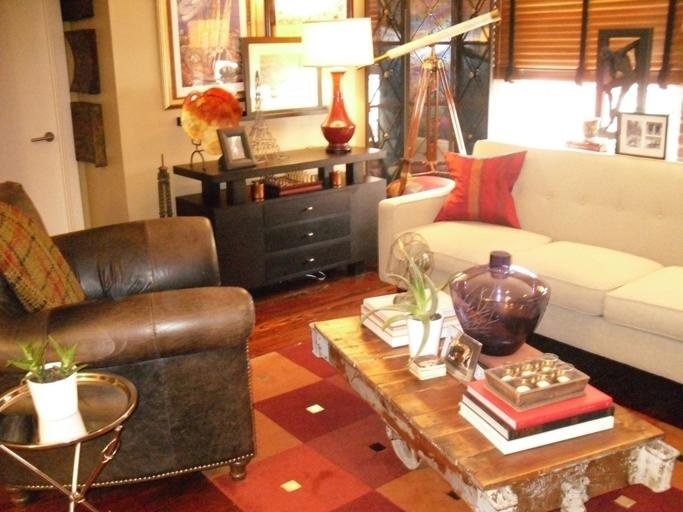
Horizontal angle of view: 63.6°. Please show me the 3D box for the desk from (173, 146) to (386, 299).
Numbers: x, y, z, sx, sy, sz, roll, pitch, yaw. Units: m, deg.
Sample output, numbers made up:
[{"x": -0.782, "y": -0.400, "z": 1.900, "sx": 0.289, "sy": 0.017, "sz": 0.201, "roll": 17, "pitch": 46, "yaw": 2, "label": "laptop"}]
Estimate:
[{"x": -0.406, "y": -0.263, "z": 3.999, "sx": 1.514, "sy": 0.863, "sz": 0.499, "roll": -16, "pitch": 26, "yaw": -39, "label": "desk"}]

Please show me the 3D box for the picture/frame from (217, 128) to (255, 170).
[{"x": -0.711, "y": -0.711, "z": 3.597, "sx": 0.163, "sy": 0.250, "sz": 0.238, "roll": 15, "pitch": 25, "yaw": 33, "label": "picture/frame"}]

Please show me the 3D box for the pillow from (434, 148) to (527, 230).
[{"x": 0.884, "y": -0.430, "z": 3.448, "sx": 0.579, "sy": 0.433, "sz": 0.269, "roll": 11, "pitch": 35, "yaw": 44, "label": "pillow"}]

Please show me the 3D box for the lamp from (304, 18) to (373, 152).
[{"x": -0.007, "y": -1.216, "z": 3.969, "sx": 0.481, "sy": 0.918, "sz": 0.355, "roll": -1, "pitch": 22, "yaw": 6, "label": "lamp"}]

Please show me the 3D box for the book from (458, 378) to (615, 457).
[{"x": 0.604, "y": 0.483, "z": 1.648, "sx": 0.261, "sy": 0.055, "sz": 0.254, "roll": -8, "pitch": 18, "yaw": -21, "label": "book"}]

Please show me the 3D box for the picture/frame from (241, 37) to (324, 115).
[{"x": -0.437, "y": -1.368, "z": 4.205, "sx": 0.035, "sy": 0.555, "sz": 0.892, "roll": 17, "pitch": 26, "yaw": 33, "label": "picture/frame"}]

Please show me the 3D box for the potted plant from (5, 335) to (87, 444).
[{"x": -0.845, "y": 0.371, "z": 1.596, "sx": 0.158, "sy": 0.205, "sz": 0.138, "roll": -5, "pitch": 2, "yaw": -27, "label": "potted plant"}]

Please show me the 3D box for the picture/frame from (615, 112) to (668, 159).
[{"x": 1.659, "y": -0.659, "z": 3.023, "sx": 0.031, "sy": 0.240, "sz": 0.297, "roll": -6, "pitch": 13, "yaw": -42, "label": "picture/frame"}]
